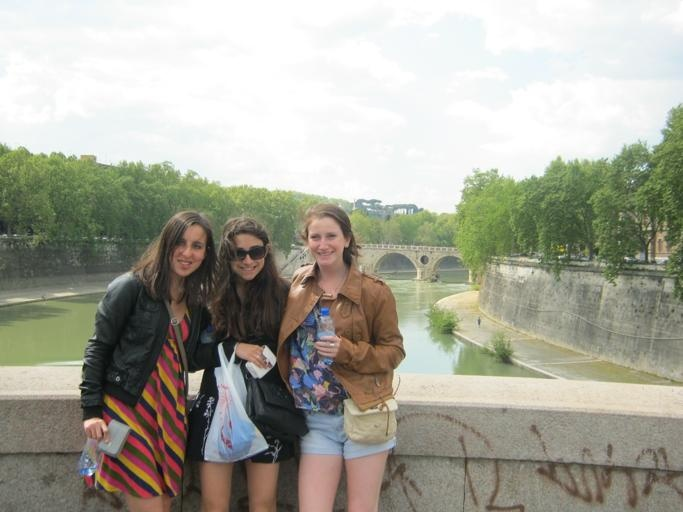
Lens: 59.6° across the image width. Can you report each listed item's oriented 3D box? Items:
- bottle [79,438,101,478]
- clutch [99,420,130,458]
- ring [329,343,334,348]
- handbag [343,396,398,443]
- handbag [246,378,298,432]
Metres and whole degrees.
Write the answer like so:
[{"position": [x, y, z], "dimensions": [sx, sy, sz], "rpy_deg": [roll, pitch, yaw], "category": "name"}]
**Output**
[{"position": [-1.388, 1.110, 3.295], "dimensions": [0.141, 0.232, 0.053], "rpy_deg": [-2, 3, 18], "category": "bottle"}, {"position": [-1.229, 0.985, 3.266], "dimensions": [0.138, 0.199, 0.059], "rpy_deg": [21, -18, 7], "category": "clutch"}, {"position": [-0.041, 0.491, 3.322], "dimensions": [0.034, 0.025, 0.011], "rpy_deg": [-2, 3, 9], "category": "ring"}, {"position": [0.177, 0.918, 3.364], "dimensions": [0.283, 0.295, 0.208], "rpy_deg": [-4, 14, -24], "category": "handbag"}, {"position": [-0.394, 0.844, 3.410], "dimensions": [0.283, 0.300, 0.126], "rpy_deg": [11, -39, -31], "category": "handbag"}]
